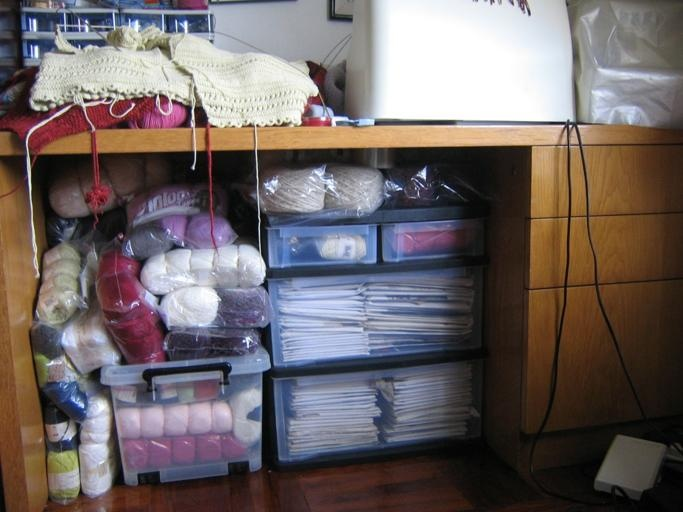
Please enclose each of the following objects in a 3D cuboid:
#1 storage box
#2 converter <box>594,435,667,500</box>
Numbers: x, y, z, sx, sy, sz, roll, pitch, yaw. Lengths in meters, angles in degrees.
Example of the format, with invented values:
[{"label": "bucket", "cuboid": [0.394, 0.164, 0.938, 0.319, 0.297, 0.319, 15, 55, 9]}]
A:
[{"label": "storage box", "cuboid": [-0.026, 0.123, 1.750, 0.984, 0.684, 0.588, -3, 18, -9]}, {"label": "converter", "cuboid": [0.654, 0.483, 1.426, 0.116, 0.089, 0.157, 12, 25, 39]}]
